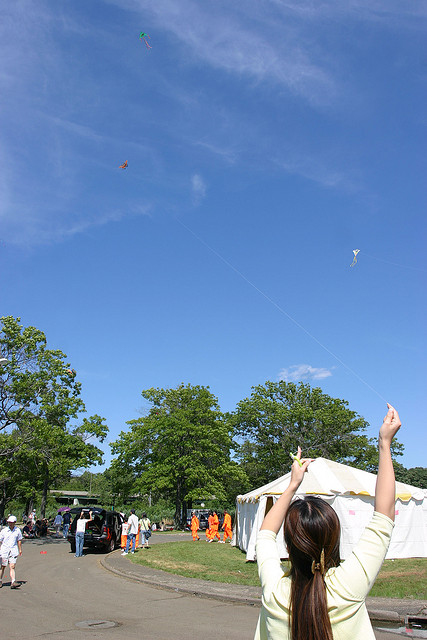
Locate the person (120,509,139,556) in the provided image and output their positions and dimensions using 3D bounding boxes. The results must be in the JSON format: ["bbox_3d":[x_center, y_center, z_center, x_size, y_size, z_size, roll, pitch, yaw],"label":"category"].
[{"bbox_3d":[-3.542,9.042,21.444,0.629,1.747,1.540,3,-14,-7],"label":"person"}]

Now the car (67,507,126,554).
[{"bbox_3d":[-5.263,9.634,23.482,1.970,1.818,4.148,-5,-14,13],"label":"car"}]

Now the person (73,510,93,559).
[{"bbox_3d":[-5.375,8.794,20.598,0.583,1.828,1.065,4,-15,-13],"label":"person"}]
